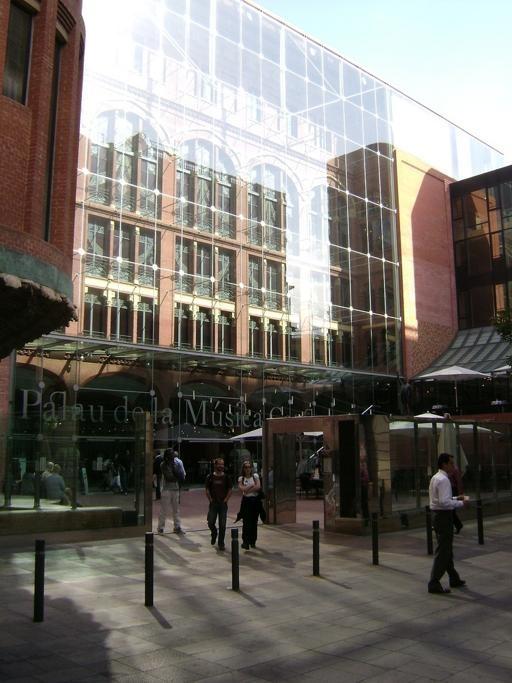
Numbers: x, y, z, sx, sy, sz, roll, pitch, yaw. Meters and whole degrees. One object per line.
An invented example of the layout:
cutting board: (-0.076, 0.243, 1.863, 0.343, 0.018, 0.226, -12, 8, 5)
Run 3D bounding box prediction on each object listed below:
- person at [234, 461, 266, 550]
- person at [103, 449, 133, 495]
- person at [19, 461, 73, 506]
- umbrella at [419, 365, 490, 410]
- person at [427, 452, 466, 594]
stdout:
person: (-0.101, 3.171, 12.386, 0.531, 1.552, 1.386, -1, -9, 0)
person: (-2.968, 2.787, 13.572, 0.689, 0.916, 0.379, -6, -11, 28)
person: (-4.319, 2.947, 13.057, 1.033, 0.891, 0.231, 5, -11, -35)
umbrella: (11.578, 2.784, 36.592, 2.652, 1.594, 2.377, 0, -14, -2)
person: (2.510, 2.368, 8.393, 0.503, 1.729, 1.574, -4, -10, 16)
